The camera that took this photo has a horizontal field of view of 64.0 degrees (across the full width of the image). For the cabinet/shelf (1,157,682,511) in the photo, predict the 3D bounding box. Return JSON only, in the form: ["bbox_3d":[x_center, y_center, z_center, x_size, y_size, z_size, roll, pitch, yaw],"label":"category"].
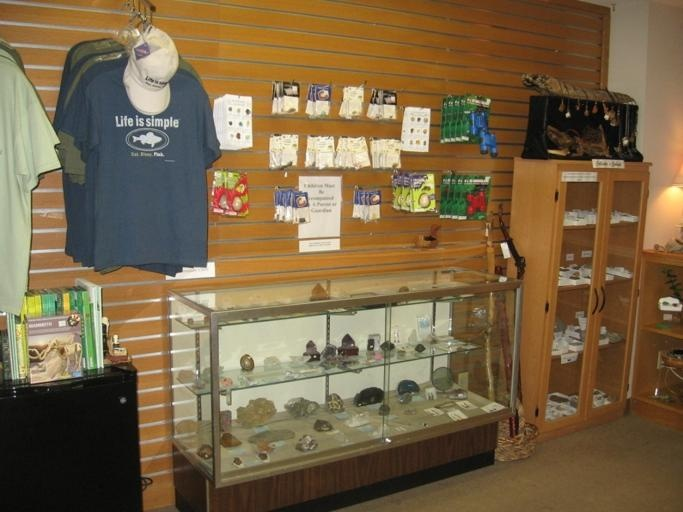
[{"bbox_3d":[-0.064,0.556,3.884,3.081,1.583,0.486,-3,6,-26],"label":"cabinet/shelf"}]

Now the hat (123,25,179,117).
[{"bbox_3d":[-1.108,-1.041,3.235,0.297,0.502,0.342,6,13,43],"label":"hat"}]

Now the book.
[{"bbox_3d":[-1.688,0.442,3.184,0.538,0.500,0.248,-6,15,-29],"label":"book"}]

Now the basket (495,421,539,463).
[{"bbox_3d":[1.453,1.538,4.518,0.325,0.147,0.348,-1,-2,-11],"label":"basket"}]
